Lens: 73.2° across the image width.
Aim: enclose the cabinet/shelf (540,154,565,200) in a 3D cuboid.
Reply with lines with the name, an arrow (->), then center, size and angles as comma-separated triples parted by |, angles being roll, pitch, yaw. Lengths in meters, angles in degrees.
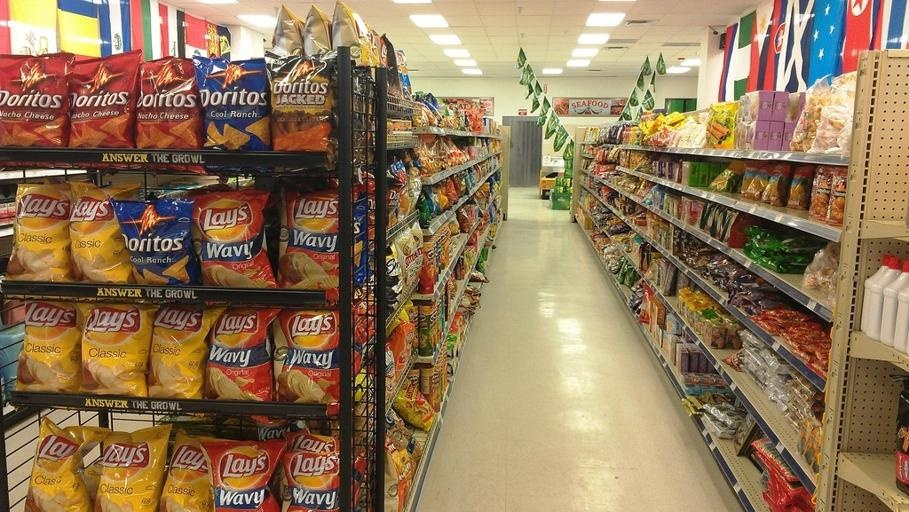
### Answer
cabinet/shelf -> 2.496, -2.056, 15.783 | 0.814, 1.273, 1.441 | 2, 8, 6
